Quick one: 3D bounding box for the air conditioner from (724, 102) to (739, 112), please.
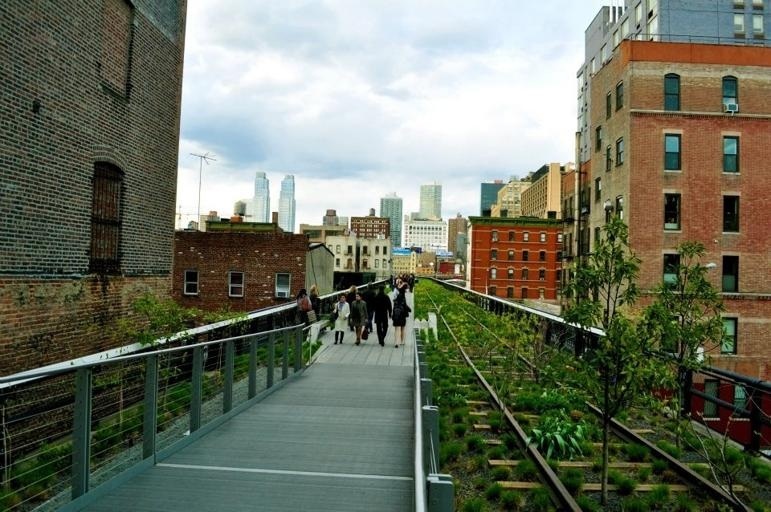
[{"bbox_3d":[18.699,-7.943,36.012,0.547,0.414,0.531,2,7,19],"label":"air conditioner"}]

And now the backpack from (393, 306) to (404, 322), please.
[{"bbox_3d":[0.494,2.029,23.737,0.501,0.469,0.844,-3,-10,1],"label":"backpack"}]

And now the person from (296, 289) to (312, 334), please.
[{"bbox_3d":[-2.792,1.789,23.343,0.501,1.034,1.227,0,-1,-8],"label":"person"}]
